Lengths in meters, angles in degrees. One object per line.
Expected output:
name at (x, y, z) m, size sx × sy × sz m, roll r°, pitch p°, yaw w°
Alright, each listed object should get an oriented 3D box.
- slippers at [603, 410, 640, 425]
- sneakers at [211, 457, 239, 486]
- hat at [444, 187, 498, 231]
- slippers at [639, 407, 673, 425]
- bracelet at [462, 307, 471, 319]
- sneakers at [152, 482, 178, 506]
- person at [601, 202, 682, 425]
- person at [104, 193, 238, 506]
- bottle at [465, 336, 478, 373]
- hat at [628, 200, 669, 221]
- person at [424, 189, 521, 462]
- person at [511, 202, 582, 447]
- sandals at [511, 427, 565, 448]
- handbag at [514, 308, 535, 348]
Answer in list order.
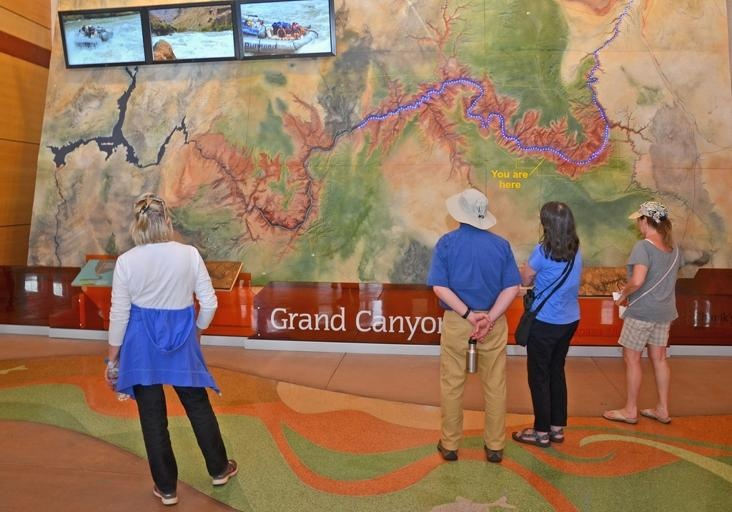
slippers at (2.330, 1.481, 5.530) m, size 0.254 × 0.095 × 0.133 m, roll 0°, pitch -4°, yaw 28°
sneakers at (-1.150, 1.782, 4.964) m, size 0.096 × 0.108 × 0.267 m, roll -1°, pitch 5°, yaw 16°
hat at (0.866, -0.390, 5.041) m, size 0.384 × 0.348 × 0.202 m, roll 0°, pitch -2°, yaw 2°
slippers at (2.668, 1.477, 5.563) m, size 0.107 × 0.084 × 0.278 m, roll 0°, pitch 0°, yaw -29°
bracelet at (0.823, 0.469, 4.945) m, size 0.027 × 0.074 × 0.074 m, roll 29°, pitch -28°, yaw -18°
sneakers at (-1.583, 1.887, 4.777) m, size 0.097 × 0.105 × 0.235 m, roll 1°, pitch 10°, yaw -43°
person at (2.539, 0.520, 5.515) m, size 0.641 × 2.010 × 0.417 m, roll 0°, pitch -2°, yaw 13°
person at (-1.524, 0.734, 4.714) m, size 0.906 × 2.418 × 0.372 m, roll 1°, pitch -2°, yaw -25°
bottle at (0.868, 0.811, 4.957) m, size 0.080 × 0.276 × 0.059 m, roll 0°, pitch -2°, yaw -1°
hat at (2.539, -0.386, 5.519) m, size 0.356 × 0.237 × 0.156 m, roll 9°, pitch -34°, yaw 41°
person at (0.898, 0.588, 5.055) m, size 0.743 × 2.281 × 0.328 m, roll 0°, pitch -2°, yaw 9°
person at (1.545, 0.596, 5.184) m, size 0.552 × 2.105 × 0.217 m, roll 0°, pitch -2°, yaw 15°
sandals at (1.503, 1.582, 5.281) m, size 0.320 × 0.120 × 0.193 m, roll 0°, pitch -1°, yaw 24°
handbag at (1.350, 0.617, 5.217) m, size 0.080 × 0.299 × 0.166 m, roll 7°, pitch 11°, yaw -23°
